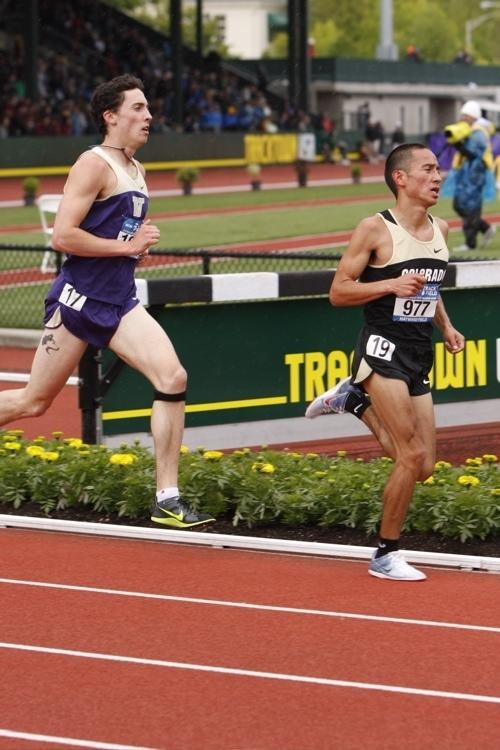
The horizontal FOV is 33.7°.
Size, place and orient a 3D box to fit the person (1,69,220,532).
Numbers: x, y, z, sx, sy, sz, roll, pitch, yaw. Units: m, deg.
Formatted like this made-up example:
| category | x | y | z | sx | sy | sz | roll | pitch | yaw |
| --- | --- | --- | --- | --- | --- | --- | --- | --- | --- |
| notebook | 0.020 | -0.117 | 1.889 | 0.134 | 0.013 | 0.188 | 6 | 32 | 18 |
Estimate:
| category | x | y | z | sx | sy | sz | roll | pitch | yaw |
| --- | --- | --- | --- | --- | --- | --- | --- | --- | --- |
| person | -0.628 | -0.320 | 3.697 | 0.905 | 2.102 | 0.487 | 0 | 3 | -3 |

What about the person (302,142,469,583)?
| category | x | y | z | sx | sy | sz | roll | pitch | yaw |
| --- | --- | --- | --- | --- | --- | --- | --- | --- | --- |
| person | 0.543 | -0.053 | 3.289 | 0.484 | 1.710 | 0.545 | 0 | 3 | 8 |

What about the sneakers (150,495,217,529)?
| category | x | y | z | sx | sy | sz | roll | pitch | yaw |
| --- | --- | --- | --- | --- | --- | --- | --- | --- | --- |
| sneakers | -0.326 | 0.630 | 3.747 | 0.350 | 0.141 | 0.129 | 3 | 4 | 10 |

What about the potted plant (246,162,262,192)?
| category | x | y | z | sx | sy | sz | roll | pitch | yaw |
| --- | --- | --- | --- | --- | --- | --- | --- | --- | --- |
| potted plant | 0.013 | -0.998 | 4.123 | 0.063 | 0.118 | 0.057 | -11 | 48 | -3 |

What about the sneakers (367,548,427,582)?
| category | x | y | z | sx | sy | sz | roll | pitch | yaw |
| --- | --- | --- | --- | --- | --- | --- | --- | --- | --- |
| sneakers | 0.559 | 0.748 | 3.259 | 0.259 | 0.110 | 0.091 | 3 | -3 | 22 |

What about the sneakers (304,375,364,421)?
| category | x | y | z | sx | sy | sz | roll | pitch | yaw |
| --- | --- | --- | --- | --- | --- | --- | --- | --- | --- |
| sneakers | 0.389 | 0.114 | 3.553 | 0.114 | 0.141 | 0.331 | -39 | 1 | -28 |
